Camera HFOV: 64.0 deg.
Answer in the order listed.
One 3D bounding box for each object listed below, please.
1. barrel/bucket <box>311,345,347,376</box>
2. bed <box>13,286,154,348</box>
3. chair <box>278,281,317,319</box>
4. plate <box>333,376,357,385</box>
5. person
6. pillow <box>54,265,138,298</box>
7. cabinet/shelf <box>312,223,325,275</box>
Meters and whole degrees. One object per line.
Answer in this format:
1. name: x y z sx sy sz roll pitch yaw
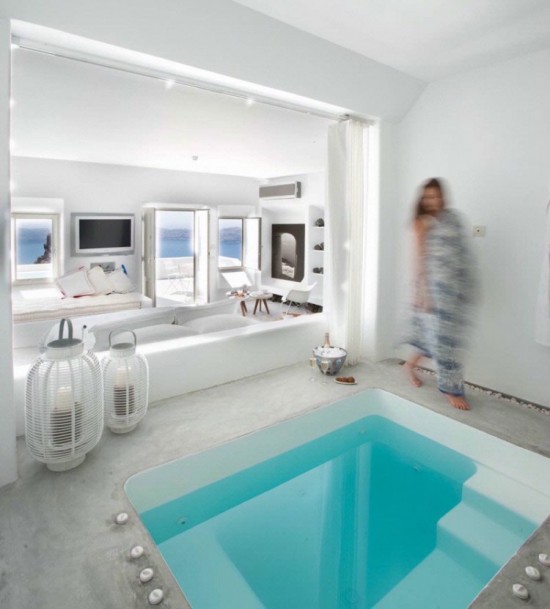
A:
1. barrel/bucket: 0.454 0.441 3.657 0.245 0.159 0.242 -1 14 0
2. bed: -1.612 0.033 3.466 0.610 0.288 1.260 9 13 30
3. chair: 0.404 -0.083 7.610 0.563 0.701 0.578 8 15 4
4. plate: 0.568 0.604 3.471 0.166 0.034 0.092 3 12 7
5. person: 1.336 -0.134 3.293 0.437 1.590 0.740 -4 13 -25
6. pillow: -1.615 -0.195 3.877 0.089 0.264 0.565 -25 -5 29
7. cabinet/shelf: 0.845 -1.109 8.523 0.211 1.068 0.349 3 12 5
